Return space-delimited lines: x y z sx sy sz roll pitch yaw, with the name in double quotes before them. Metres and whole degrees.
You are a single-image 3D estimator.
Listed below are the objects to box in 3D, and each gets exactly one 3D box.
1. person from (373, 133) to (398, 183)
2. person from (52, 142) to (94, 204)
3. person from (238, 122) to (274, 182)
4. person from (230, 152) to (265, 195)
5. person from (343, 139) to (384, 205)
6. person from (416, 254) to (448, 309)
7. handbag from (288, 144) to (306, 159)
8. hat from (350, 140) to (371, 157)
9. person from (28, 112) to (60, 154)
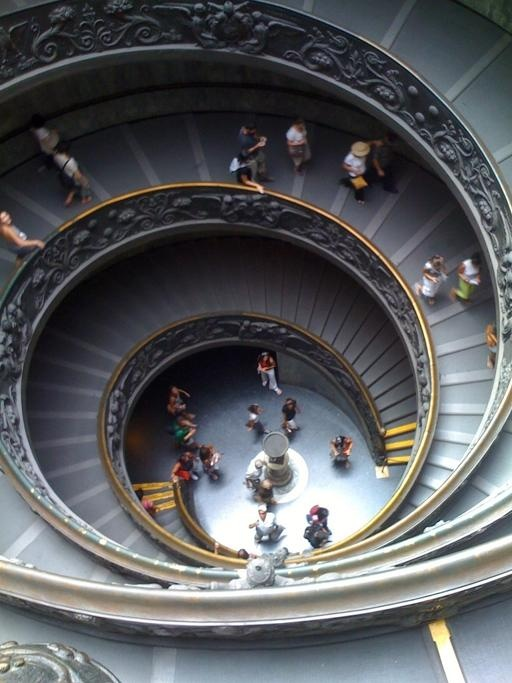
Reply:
"person" 2.762 -3.835 12.073 0.679 0.382 1.158 -62 -15 6
"person" -4.116 -3.440 12.205 0.730 1.335 0.366 -14 -15 -24
"person" 0.004 -3.962 12.182 0.838 0.675 1.673 -6 -6 14
"person" -0.169 -3.585 12.331 0.480 0.556 0.959 -20 4 8
"person" 2.331 -3.540 12.149 0.583 0.864 1.322 -60 -14 3
"person" 3.289 -1.063 10.597 0.503 0.793 1.218 -14 -29 8
"handbag" 0.899 -4.060 12.216 0.314 0.208 0.431 3 9 16
"hat" 2.142 -3.890 11.735 0.367 0.331 0.122 18 -2 8
"person" -4.353 -4.228 11.711 0.429 0.480 0.791 -15 -35 6
